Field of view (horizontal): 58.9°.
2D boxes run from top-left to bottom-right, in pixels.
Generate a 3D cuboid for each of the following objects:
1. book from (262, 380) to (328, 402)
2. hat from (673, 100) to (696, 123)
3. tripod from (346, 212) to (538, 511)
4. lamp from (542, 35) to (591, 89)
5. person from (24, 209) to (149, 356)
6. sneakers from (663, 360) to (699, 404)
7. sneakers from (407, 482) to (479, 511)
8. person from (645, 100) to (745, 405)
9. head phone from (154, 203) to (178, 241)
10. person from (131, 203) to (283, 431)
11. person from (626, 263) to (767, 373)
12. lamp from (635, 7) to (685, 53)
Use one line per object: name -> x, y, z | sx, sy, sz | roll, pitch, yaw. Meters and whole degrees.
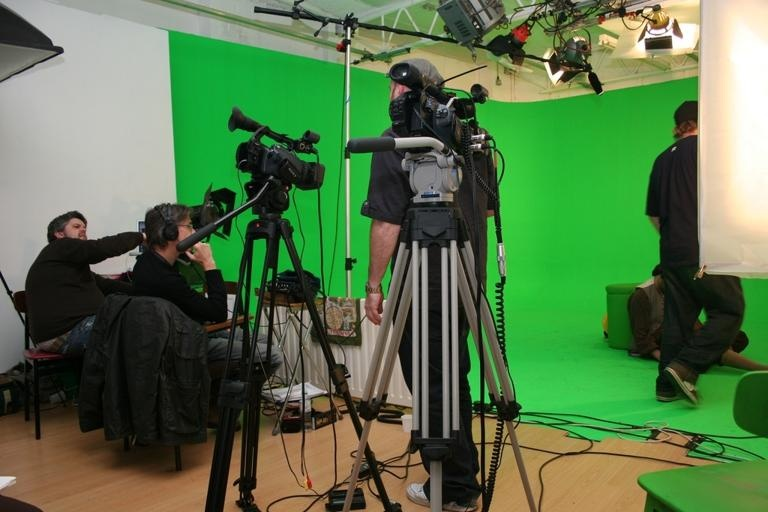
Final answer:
book -> -0.723, 1.113, 5.477 | 0.424, 0.093, 0.436 | 2, -6, -42
hat -> 2.681, -1.286, 6.007 | 0.174, 0.213, 0.225 | -8, 18, -37
tripod -> 0.303, 0.672, 3.931 | 0.993, 1.905, 0.755 | -1, 3, 25
lamp -> 2.052, -2.271, 7.614 | 0.477, 0.526, 0.577 | -1, 2, 16
person -> -2.465, 0.309, 5.812 | 0.999, 1.437, 0.844 | -5, -15, -9
sneakers -> 2.411, 1.040, 5.549 | 0.255, 0.330, 0.163 | -1, 3, 22
sneakers -> 0.377, 1.536, 4.357 | 0.454, 0.183, 0.171 | 5, 2, 36
person -> 2.566, 0.086, 5.662 | 0.754, 2.220, 0.604 | -1, 3, 26
head phone -> -1.486, -0.209, 4.699 | 0.110, 0.266, 0.304 | -7, -7, -19
person -> -1.387, 0.245, 5.240 | 1.045, 1.210, 0.823 | 2, -1, -23
person -> 3.014, 0.672, 6.665 | 1.374, 0.996, 0.720 | 2, -8, 9
lamp -> 2.956, -2.441, 7.248 | 0.369, 0.458, 0.238 | -1, 3, 25
